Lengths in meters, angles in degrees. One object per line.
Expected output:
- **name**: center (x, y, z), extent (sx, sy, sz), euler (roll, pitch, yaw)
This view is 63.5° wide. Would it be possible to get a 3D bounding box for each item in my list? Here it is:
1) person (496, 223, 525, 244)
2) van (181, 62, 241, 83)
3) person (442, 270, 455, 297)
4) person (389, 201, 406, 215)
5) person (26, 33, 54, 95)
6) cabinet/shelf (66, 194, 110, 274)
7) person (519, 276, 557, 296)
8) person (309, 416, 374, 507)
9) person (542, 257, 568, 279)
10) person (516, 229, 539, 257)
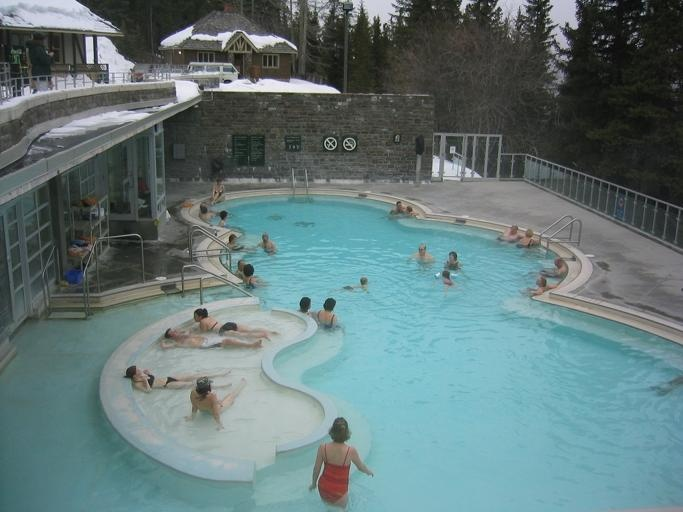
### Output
- **person**: center (6.161, -0.808, 19.816), extent (0.580, 0.467, 0.929), euler (12, 19, 29)
- **van**: center (-8.832, -12.713, 38.048), extent (3.216, 1.279, 6.322), euler (-1, 18, -13)
- **person**: center (3.094, 0.764, 16.075), extent (0.223, 0.850, 0.335), euler (0, 16, 3)
- **person**: center (2.455, -2.014, 23.058), extent (0.530, 0.571, 0.872), euler (19, 24, 41)
- **person**: center (-7.253, -4.707, 13.324), extent (0.464, 1.270, 1.940), euler (-7, 20, -27)
- **cabinet/shelf**: center (-7.127, -0.574, 15.451), extent (0.388, 1.147, 2.171), euler (1, 16, -5)
- **person**: center (5.486, 0.919, 15.478), extent (0.696, 0.315, 0.639), euler (-23, 21, -24)
- **person**: center (-0.068, 3.125, 8.348), extent (0.793, 1.304, 0.445), euler (2, 18, -3)
- **person**: center (6.485, 0.381, 16.738), extent (0.679, 0.320, 0.731), euler (3, 17, 32)
- **person**: center (6.440, -0.539, 19.106), extent (0.764, 0.730, 1.372), euler (9, 19, 18)
